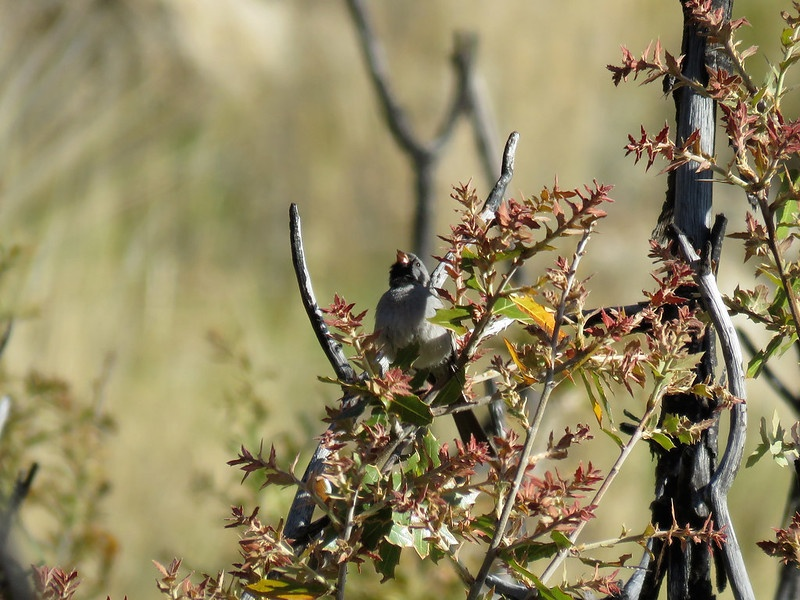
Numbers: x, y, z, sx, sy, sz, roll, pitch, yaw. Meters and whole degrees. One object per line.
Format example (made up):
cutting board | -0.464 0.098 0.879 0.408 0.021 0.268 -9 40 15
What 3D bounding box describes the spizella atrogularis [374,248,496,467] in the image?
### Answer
spizella atrogularis | 0.044 0.089 4.839 0.218 0.331 0.777 -20 67 -14
